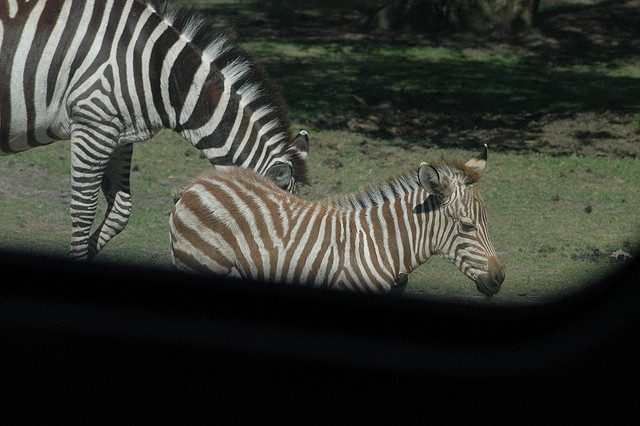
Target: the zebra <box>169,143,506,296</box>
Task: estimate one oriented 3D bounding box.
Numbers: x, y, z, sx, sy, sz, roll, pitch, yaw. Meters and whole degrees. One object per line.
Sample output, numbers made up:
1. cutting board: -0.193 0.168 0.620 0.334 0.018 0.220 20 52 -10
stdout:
1. zebra: 0.147 0.435 9.725 3.261 1.988 1.013 4 13 19
